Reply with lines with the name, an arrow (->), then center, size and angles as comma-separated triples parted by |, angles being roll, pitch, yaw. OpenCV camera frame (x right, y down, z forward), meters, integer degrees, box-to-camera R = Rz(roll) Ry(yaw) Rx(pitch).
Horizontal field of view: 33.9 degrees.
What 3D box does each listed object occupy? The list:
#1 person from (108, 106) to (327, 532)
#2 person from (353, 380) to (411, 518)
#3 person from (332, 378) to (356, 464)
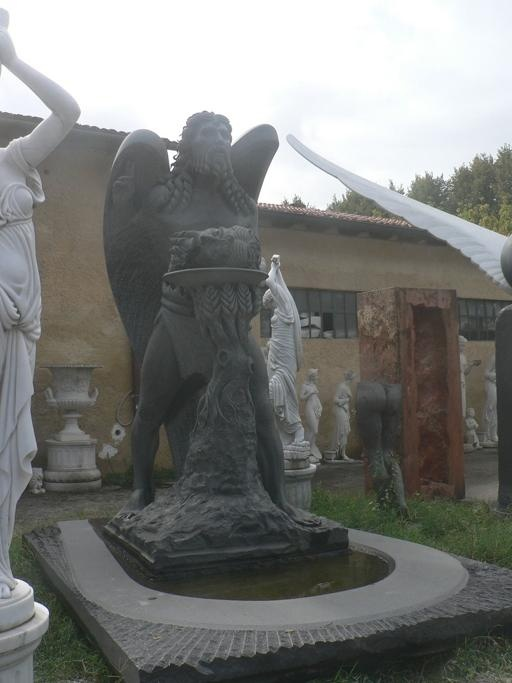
person -> -0.299, -0.152, 4.977 | 1.157, 2.367, 0.906 | 9, 7, 43
person -> 1.125, 0.916, 7.509 | 0.511, 1.089, 0.481 | 4, 5, 5
person -> 1.507, 1.266, 14.652 | 0.333, 1.554, 0.977 | 4, 5, 5
